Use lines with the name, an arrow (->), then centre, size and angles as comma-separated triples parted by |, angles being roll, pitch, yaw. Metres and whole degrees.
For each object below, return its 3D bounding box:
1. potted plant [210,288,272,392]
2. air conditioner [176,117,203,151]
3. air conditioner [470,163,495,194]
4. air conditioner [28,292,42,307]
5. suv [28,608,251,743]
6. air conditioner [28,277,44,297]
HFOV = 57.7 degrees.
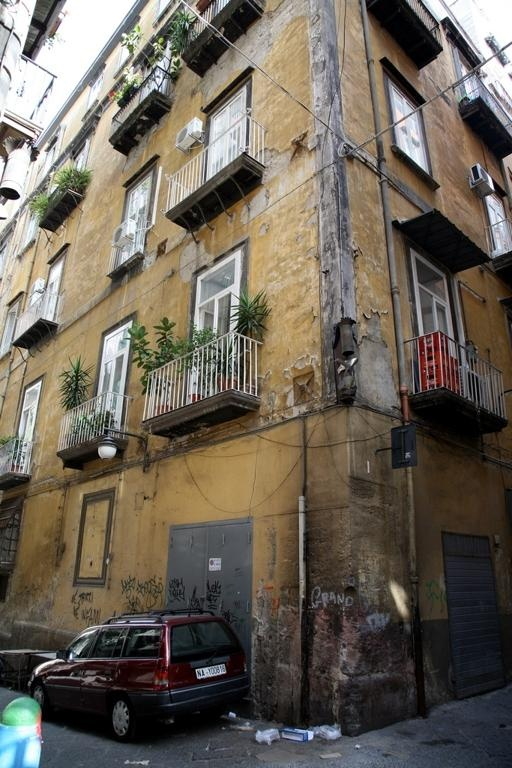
potted plant -> -0.298, -0.797, 7.917 | 0.696, 1.948, 1.082 | 9, -24, -25
air conditioner -> -1.631, -6.157, 11.539 | 0.317, 0.762, 0.894 | 15, -28, -37
air conditioner -> 5.667, -5.215, 11.836 | 0.660, 0.644, 0.408 | 16, -28, -37
air conditioner -> -8.316, -3.241, 17.634 | 0.612, 0.683, 0.166 | -4, -19, 38
suv -> -1.752, 3.743, 6.256 | 1.406, 1.299, 3.766 | 20, -32, -41
air conditioner -> -8.572, -3.830, 18.249 | 0.272, 0.798, 0.841 | 19, -64, -25
